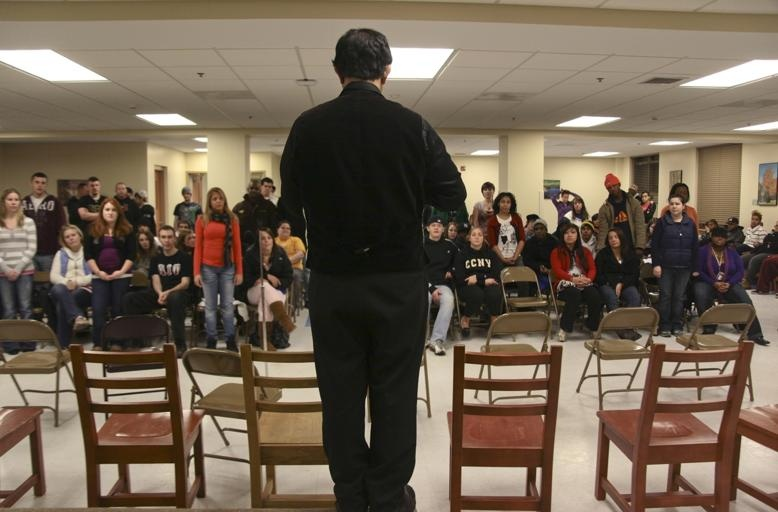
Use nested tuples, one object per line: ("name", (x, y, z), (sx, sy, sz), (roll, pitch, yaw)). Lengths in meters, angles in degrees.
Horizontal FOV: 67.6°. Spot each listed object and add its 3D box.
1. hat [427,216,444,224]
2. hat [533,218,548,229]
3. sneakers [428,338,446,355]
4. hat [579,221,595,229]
("hat", (0.687, -0.505, 8.395), (0.215, 0.130, 0.213), (0, 0, -1))
("hat", (2.464, -0.525, 9.345), (0.236, 0.179, 0.306), (0, 9, 12))
("sneakers", (0.652, 1.217, 7.731), (0.123, 0.121, 0.267), (-1, -1, -19))
("hat", (3.335, -0.506, 9.746), (0.221, 0.136, 0.266), (6, -7, 17))
